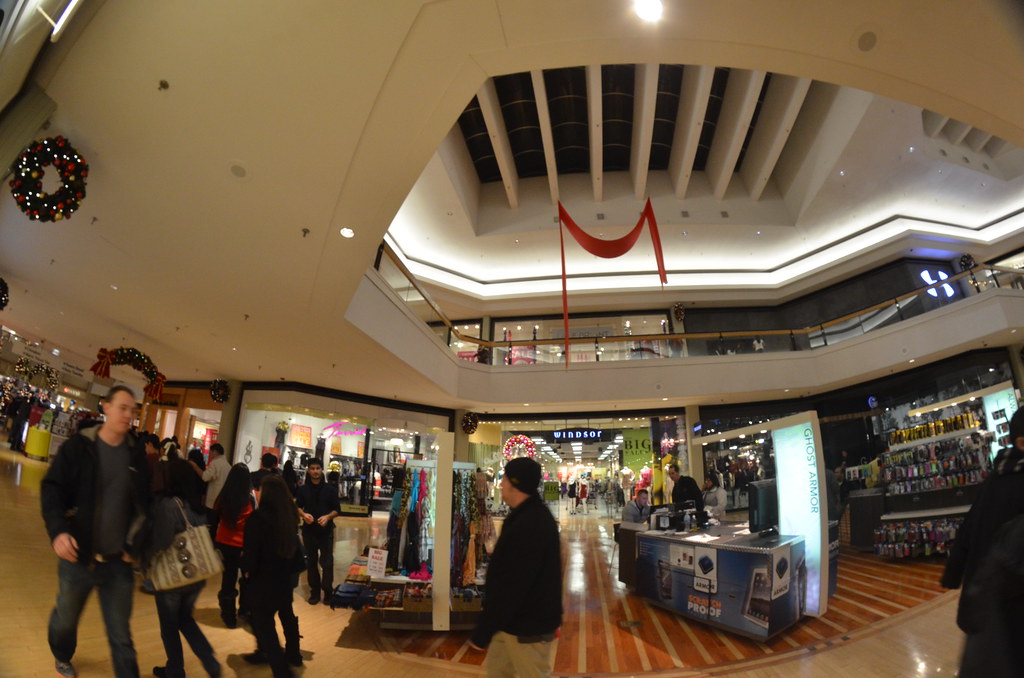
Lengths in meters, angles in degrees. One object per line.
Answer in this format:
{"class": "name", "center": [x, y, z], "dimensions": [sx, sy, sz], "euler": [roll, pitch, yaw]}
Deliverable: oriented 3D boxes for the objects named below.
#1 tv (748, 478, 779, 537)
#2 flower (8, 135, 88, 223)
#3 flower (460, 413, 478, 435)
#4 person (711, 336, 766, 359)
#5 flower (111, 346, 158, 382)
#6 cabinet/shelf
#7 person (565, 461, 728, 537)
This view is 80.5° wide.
{"class": "tv", "center": [3.267, 2.202, 7.876], "dimensions": [0.560, 0.594, 0.192], "euler": [12, -15, -40]}
{"class": "flower", "center": [-4.516, -1.606, 5.905], "dimensions": [0.304, 0.863, 0.569], "euler": [-13, -21, 43]}
{"class": "flower", "center": [-1.119, 2.085, 15.220], "dimensions": [0.404, 0.563, 0.167], "euler": [0, 3, -2]}
{"class": "person", "center": [5.240, 0.161, 14.086], "dimensions": [1.311, 0.433, 0.098], "euler": [0, -15, 9]}
{"class": "flower", "center": [-6.324, 0.354, 10.133], "dimensions": [0.403, 0.519, 0.848], "euler": [-3, -16, 16]}
{"class": "cabinet/shelf", "center": [7.482, 2.416, 11.508], "dimensions": [1.797, 3.376, 1.089], "euler": [-6, 12, -5]}
{"class": "person", "center": [2.601, 2.390, 9.257], "dimensions": [1.754, 0.936, 1.196], "euler": [11, -17, -29]}
